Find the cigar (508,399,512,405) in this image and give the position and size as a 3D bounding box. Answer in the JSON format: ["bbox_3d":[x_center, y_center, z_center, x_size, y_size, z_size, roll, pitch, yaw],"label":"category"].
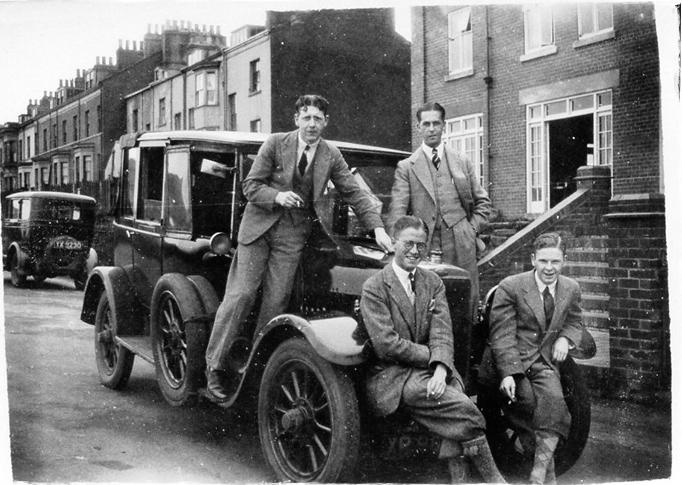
[{"bbox_3d":[1.219,1.150,4.763,0.035,0.040,0.011,-7,-8,38],"label":"cigar"}]

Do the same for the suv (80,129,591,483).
[{"bbox_3d":[-0.770,0.363,6.103,2.255,2.439,4.241,3,-4,-35],"label":"suv"}]

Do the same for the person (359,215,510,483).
[{"bbox_3d":[0.551,0.700,4.440,0.851,1.724,0.503,-1,7,3],"label":"person"}]

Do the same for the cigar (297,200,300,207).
[{"bbox_3d":[-0.333,-0.305,5.074,0.038,0.049,0.111,-2,8,-1],"label":"cigar"}]

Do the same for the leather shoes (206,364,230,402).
[{"bbox_3d":[-1.036,1.140,5.349,0.204,0.328,0.239,-3,0,-25],"label":"leather shoes"}]

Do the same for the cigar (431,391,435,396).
[{"bbox_3d":[0.598,0.987,4.326,0.035,0.034,0.007,-1,7,7],"label":"cigar"}]
